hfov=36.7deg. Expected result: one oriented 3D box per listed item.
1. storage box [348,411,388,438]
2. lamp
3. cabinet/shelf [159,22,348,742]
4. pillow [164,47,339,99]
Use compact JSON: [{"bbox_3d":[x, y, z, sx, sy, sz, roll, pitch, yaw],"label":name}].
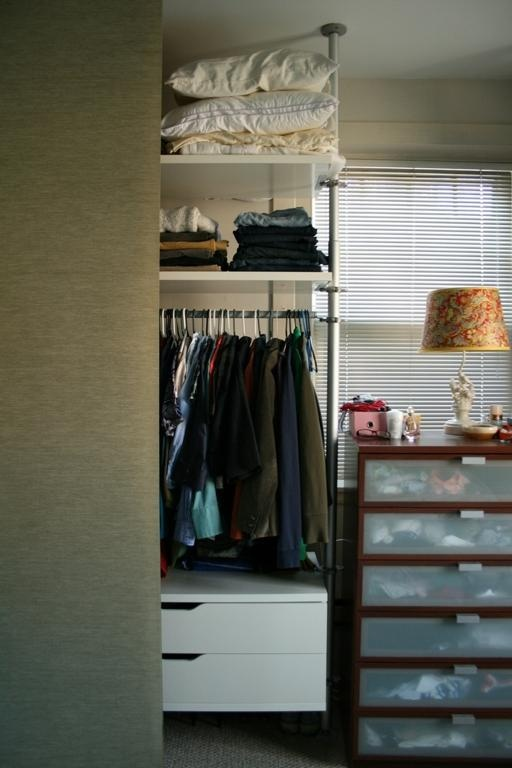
[{"bbox_3d":[0.367,0.134,2.520,0.093,0.054,0.090,0,-3,-5],"label":"storage box"},{"bbox_3d":[0.676,-0.082,2.533,0.258,0.309,0.279,-1,-1,1],"label":"lamp"},{"bbox_3d":[-0.002,-0.006,2.540,0.627,2.287,0.605,-1,-1,-5],"label":"cabinet/shelf"},{"bbox_3d":[-0.011,-0.936,2.323,0.493,0.138,0.086,-1,-1,2],"label":"pillow"}]
